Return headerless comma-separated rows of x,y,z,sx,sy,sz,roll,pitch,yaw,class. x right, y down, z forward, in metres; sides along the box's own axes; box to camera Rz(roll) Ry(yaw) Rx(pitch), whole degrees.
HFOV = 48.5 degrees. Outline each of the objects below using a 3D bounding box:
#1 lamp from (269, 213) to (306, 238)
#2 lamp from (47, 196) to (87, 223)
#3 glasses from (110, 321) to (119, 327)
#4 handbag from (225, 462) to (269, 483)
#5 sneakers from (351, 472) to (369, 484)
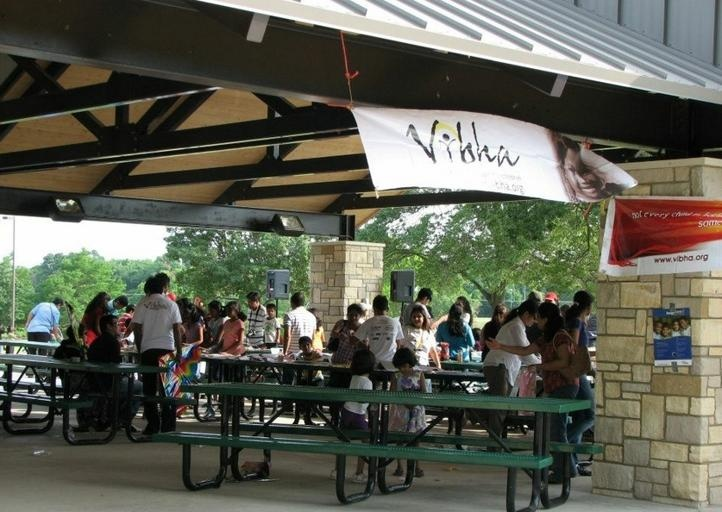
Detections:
-1.428,-0.613,16.091,0.625,0.407,0.428,5,-4,-42,lamp
-5.108,-0.792,13.730,0.473,0.433,0.311,5,-5,-42,lamp
-3.255,0.910,10.569,0.036,0.110,0.111,7,4,32,glasses
-1.183,2.249,8.320,0.547,0.196,0.160,-3,-5,10,handbag
0.002,2.295,8.264,0.229,0.100,0.081,4,6,-36,sneakers
